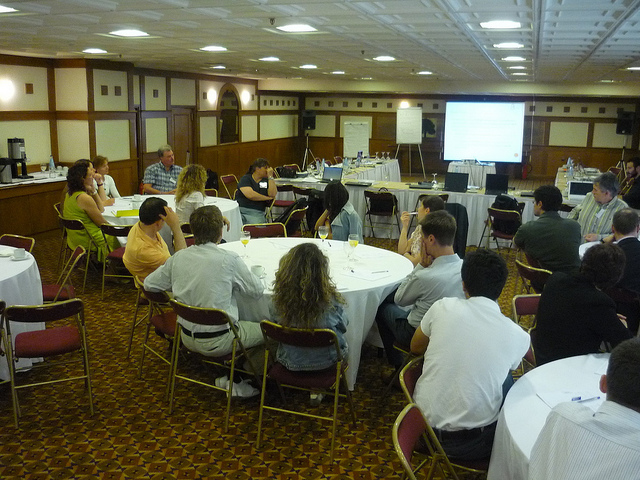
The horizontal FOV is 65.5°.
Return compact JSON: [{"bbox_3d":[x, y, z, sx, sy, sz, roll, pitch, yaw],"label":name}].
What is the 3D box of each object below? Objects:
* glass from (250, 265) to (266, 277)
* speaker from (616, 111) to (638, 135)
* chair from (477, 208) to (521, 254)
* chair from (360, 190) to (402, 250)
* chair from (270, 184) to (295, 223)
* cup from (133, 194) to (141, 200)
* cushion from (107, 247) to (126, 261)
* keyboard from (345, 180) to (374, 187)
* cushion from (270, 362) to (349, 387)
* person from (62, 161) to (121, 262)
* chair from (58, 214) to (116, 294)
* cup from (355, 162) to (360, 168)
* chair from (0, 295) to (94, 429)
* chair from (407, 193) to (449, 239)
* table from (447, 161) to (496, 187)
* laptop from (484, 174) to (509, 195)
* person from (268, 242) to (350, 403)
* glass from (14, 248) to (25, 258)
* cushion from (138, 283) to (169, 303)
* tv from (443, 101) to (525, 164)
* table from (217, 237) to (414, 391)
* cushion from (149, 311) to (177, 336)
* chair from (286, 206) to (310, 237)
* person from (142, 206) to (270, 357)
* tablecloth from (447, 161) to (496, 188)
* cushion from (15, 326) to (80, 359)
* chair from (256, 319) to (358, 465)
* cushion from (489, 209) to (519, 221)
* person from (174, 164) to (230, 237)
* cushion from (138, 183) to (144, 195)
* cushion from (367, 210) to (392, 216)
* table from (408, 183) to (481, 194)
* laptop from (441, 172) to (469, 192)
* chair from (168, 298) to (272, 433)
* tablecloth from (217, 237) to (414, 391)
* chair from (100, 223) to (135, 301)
[{"bbox_3d":[-0.528,0.251,4.196,0.101,0.080,0.174,-4,12,-13],"label":"glass"},{"bbox_3d":[9.294,-3.575,15.152,0.452,0.667,0.540,4,12,27],"label":"speaker"},{"bbox_3d":[2.875,-0.164,7.763,0.436,0.849,0.577,11,26,29],"label":"chair"},{"bbox_3d":[1.102,-0.452,8.940,0.527,1.039,0.573,4,20,21],"label":"chair"},{"bbox_3d":[-0.666,-0.745,9.394,0.414,0.813,0.583,2,29,3],"label":"chair"},{"bbox_3d":[-2.569,-0.615,7.021,0.094,0.080,0.101,4,8,-1],"label":"cup"},{"bbox_3d":[-2.402,0.161,5.884,0.228,0.062,0.245,0,17,-4],"label":"cushion"},{"bbox_3d":[0.733,-1.085,9.442,0.413,0.077,0.313,3,2,16],"label":"keyboard"},{"bbox_3d":[-0.093,0.973,3.526,0.537,0.140,0.207,0,12,8],"label":"cushion"},{"bbox_3d":[-2.931,-0.286,6.427,0.525,1.491,0.766,22,20,35],"label":"person"},{"bbox_3d":[-2.600,0.167,6.031,0.625,0.948,0.640,-5,-10,-9],"label":"chair"},{"bbox_3d":[0.905,-1.849,12.114,0.116,0.148,0.125,0,20,0],"label":"cup"},{"bbox_3d":[-2.184,0.992,3.940,0.539,1.023,0.706,-4,34,-17],"label":"chair"},{"bbox_3d":[1.806,-0.423,8.384,0.690,0.835,1.299,1,12,15],"label":"chair"},{"bbox_3d":[3.983,-1.832,13.071,1.214,0.888,1.308,1,12,7],"label":"table"},{"bbox_3d":[3.090,-1.011,8.763,0.413,0.448,0.335,5,12,32],"label":"laptop"},{"bbox_3d":[-0.087,0.555,3.518,0.562,1.044,0.443,-1,11,1],"label":"person"},{"bbox_3d":[-2.658,0.108,4.386,0.081,0.069,0.087,-2,7,-2],"label":"glass"},{"bbox_3d":[-1.302,0.424,3.953,0.167,0.076,0.145,0,10,-44],"label":"cushion"},{"bbox_3d":[4.807,-3.180,14.594,1.780,1.568,0.024,4,8,25],"label":"tv"},{"bbox_3d":[0.099,0.420,4.641,1.391,0.838,1.400,2,18,10],"label":"table"},{"bbox_3d":[-1.288,0.675,4.146,0.262,0.080,0.257,19,16,35],"label":"cushion"},{"bbox_3d":[-0.318,-0.279,7.208,0.326,0.424,0.641,-2,12,-1],"label":"chair"},{"bbox_3d":[-0.809,0.313,3.773,0.881,1.106,0.647,-5,11,-18],"label":"person"},{"bbox_3d":[3.940,-1.779,12.944,1.173,0.862,1.266,1,14,4],"label":"tablecloth"},{"bbox_3d":[-2.087,0.783,3.823,0.438,0.107,0.436,-8,14,-28],"label":"cushion"},{"bbox_3d":[-0.103,0.971,3.686,0.789,1.023,0.825,-5,15,-22],"label":"chair"},{"bbox_3d":[2.757,-0.378,7.485,0.404,0.194,0.261,0,12,8],"label":"cushion"},{"bbox_3d":[-1.537,-0.405,6.435,0.614,1.170,0.615,3,-6,-43],"label":"person"},{"bbox_3d":[-3.738,-1.094,10.386,0.068,0.285,0.955,-6,13,-23],"label":"cushion"},{"bbox_3d":[1.070,-0.494,8.901,0.430,0.148,0.379,0,12,8],"label":"cushion"},{"bbox_3d":[2.261,-0.954,9.081,1.285,0.134,0.510,2,12,18],"label":"table"},{"bbox_3d":[2.427,-1.041,8.864,0.396,0.320,0.302,3,12,11],"label":"laptop"},{"bbox_3d":[-0.817,0.860,3.958,0.676,1.025,0.816,1,15,0],"label":"chair"},{"bbox_3d":[0.062,0.395,4.615,1.354,0.772,1.443,2,17,6],"label":"tablecloth"},{"bbox_3d":[-2.429,0.234,5.946,0.423,0.912,0.913,-6,12,-24],"label":"chair"}]
